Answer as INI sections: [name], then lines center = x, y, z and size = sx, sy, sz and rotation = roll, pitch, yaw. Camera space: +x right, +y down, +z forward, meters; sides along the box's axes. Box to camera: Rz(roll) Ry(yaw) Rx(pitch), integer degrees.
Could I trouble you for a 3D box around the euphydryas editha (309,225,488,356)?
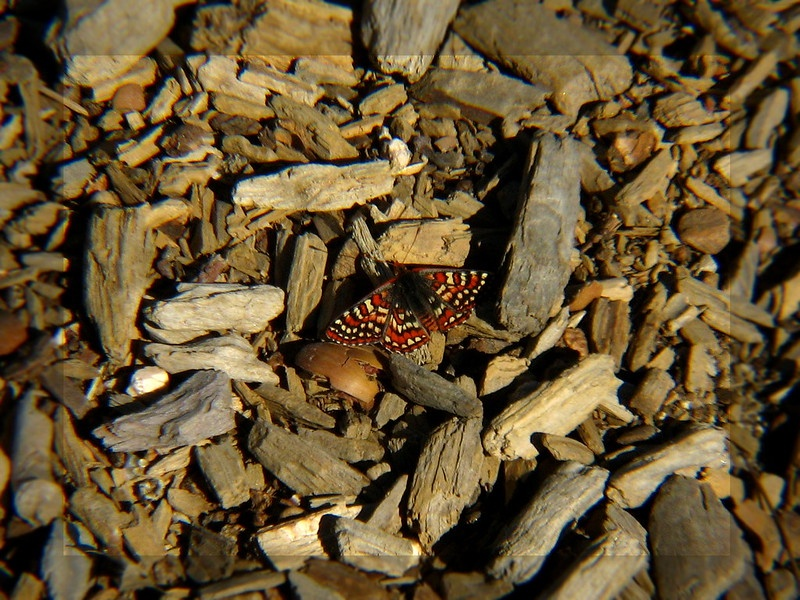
[euphydryas editha]
center = 0.033, 0.042, 5.256
size = 0.768, 0.215, 0.471
rotation = 10, 80, -2
